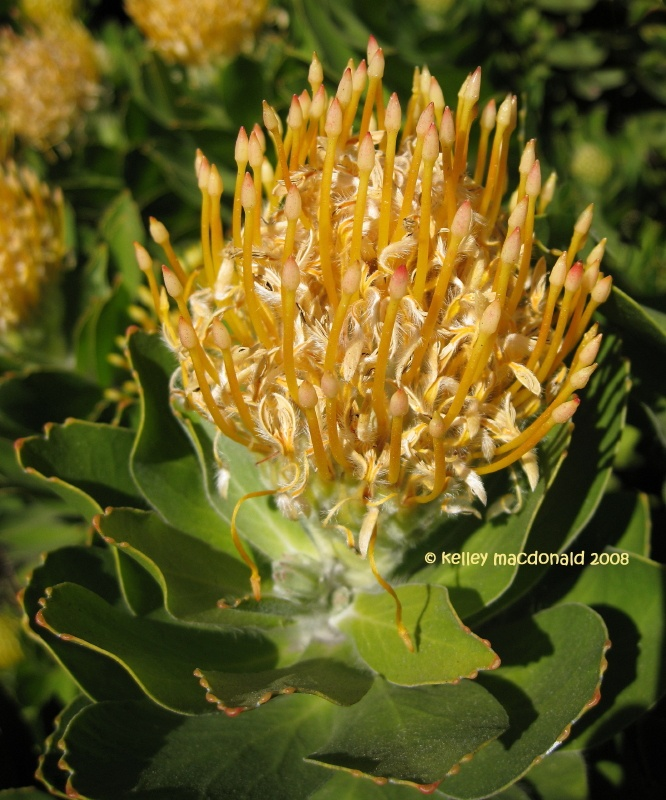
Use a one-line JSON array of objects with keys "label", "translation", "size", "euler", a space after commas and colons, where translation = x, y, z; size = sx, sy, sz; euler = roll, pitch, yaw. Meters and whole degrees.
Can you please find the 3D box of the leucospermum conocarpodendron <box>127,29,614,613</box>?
[{"label": "leucospermum conocarpodendron", "translation": [0.087, -0.074, 1.173], "size": [0.585, 0.649, 0.536], "euler": [-19, 50, -12]}]
